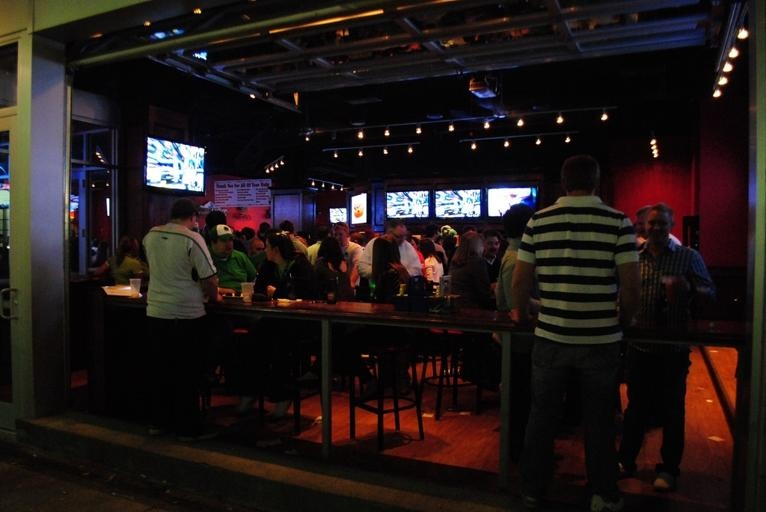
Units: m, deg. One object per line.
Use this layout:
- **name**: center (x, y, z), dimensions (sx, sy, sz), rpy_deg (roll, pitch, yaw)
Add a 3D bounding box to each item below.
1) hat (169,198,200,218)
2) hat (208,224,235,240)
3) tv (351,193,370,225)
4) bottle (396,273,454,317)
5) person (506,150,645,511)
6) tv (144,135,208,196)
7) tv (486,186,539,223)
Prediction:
- **hat**: center (-1.854, -0.428, 5.901), dimensions (0.170, 0.202, 0.219), rpy_deg (12, 27, 27)
- **hat**: center (-1.671, -0.247, 6.562), dimensions (0.216, 0.108, 0.147), rpy_deg (-7, 3, 10)
- **tv**: center (-0.690, -1.498, 20.086), dimensions (0.117, 0.774, 1.095), rpy_deg (2, -2, -18)
- **bottle**: center (0.421, 0.337, 5.656), dimensions (0.365, 0.213, 0.366), rpy_deg (0, 3, 0)
- **person**: center (1.412, 0.563, 4.757), dimensions (0.906, 2.570, 0.663), rpy_deg (4, 12, 11)
- **tv**: center (-3.747, -1.611, 11.478), dimensions (0.159, 1.056, 1.453), rpy_deg (6, 13, 23)
- **tv**: center (2.554, -1.080, 12.496), dimensions (1.523, 0.894, 0.153), rpy_deg (0, -3, 32)
